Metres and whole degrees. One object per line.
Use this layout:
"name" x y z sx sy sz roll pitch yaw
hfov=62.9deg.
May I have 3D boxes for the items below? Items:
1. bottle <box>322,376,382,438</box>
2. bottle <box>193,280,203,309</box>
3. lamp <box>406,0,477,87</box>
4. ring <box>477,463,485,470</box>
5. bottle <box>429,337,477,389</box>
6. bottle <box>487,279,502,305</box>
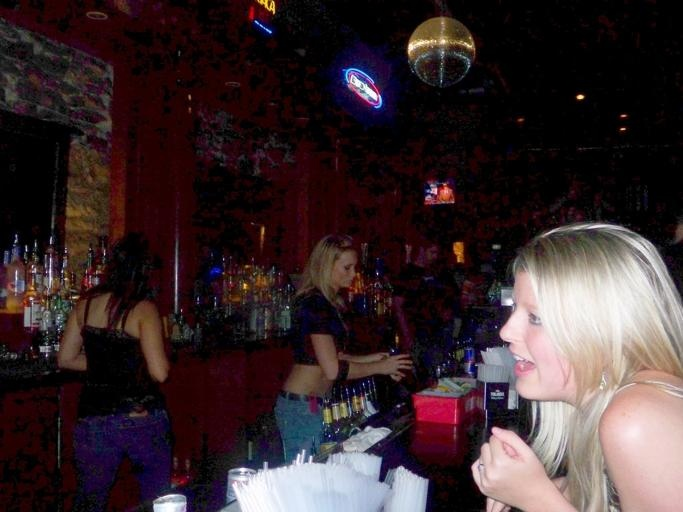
"bottle" 0.043 0.782 2.863 0.099 0.085 0.355 0 37 13
"bottle" -1.388 0.375 5.403 0.086 0.268 0.303 2 -7 -16
"lamp" 0.822 -1.833 5.053 0.643 0.826 0.615 -2 4 -21
"ring" 0.424 0.644 1.703 0.016 0.014 0.013 -2 -36 4
"bottle" 0.740 0.742 3.740 0.395 0.358 0.231 -2 -2 -1
"bottle" 1.866 0.461 6.825 0.147 0.148 0.366 -13 10 14
